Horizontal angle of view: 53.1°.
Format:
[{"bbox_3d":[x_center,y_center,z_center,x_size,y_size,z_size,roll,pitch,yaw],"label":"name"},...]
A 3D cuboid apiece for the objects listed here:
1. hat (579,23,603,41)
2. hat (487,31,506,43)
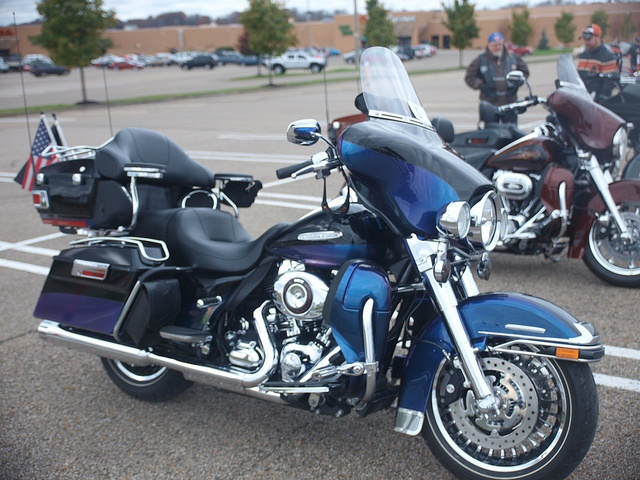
[{"bbox_3d":[3.353,-2.537,7.906,0.156,0.151,0.269,5,35,25],"label":"hat"},{"bbox_3d":[2.565,-2.908,9.311,0.204,0.171,0.210,-9,15,-21],"label":"hat"}]
